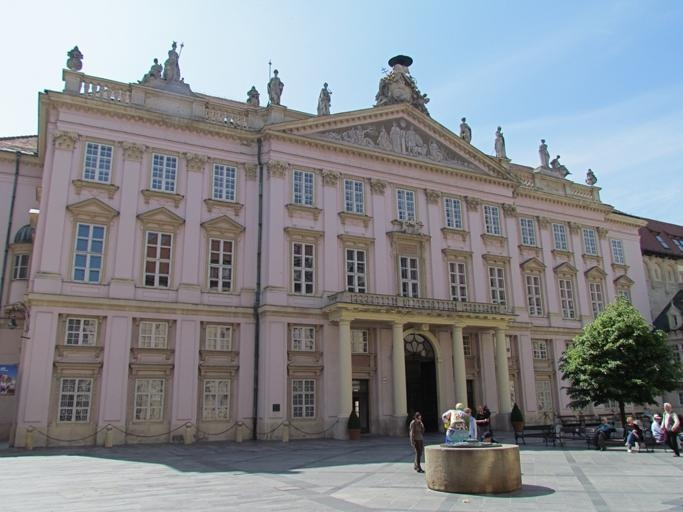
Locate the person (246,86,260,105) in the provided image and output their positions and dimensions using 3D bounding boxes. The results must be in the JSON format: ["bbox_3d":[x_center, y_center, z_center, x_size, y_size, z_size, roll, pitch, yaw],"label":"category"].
[{"bbox_3d":[-7.157,-12.932,42.618,0.859,1.690,0.605,5,-18,-24],"label":"person"}]

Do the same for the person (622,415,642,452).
[{"bbox_3d":[14.032,8.531,25.096,0.732,1.566,1.206,-11,-18,25],"label":"person"}]

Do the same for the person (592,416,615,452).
[{"bbox_3d":[13.325,9.078,26.675,0.702,1.381,1.392,-14,-19,34],"label":"person"}]

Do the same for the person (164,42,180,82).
[{"bbox_3d":[-12.102,-13.776,37.258,1.117,2.975,1.030,3,-17,-18],"label":"person"}]

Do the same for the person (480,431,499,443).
[{"bbox_3d":[7.425,9.174,26.491,0.532,0.535,1.837,-5,-15,8],"label":"person"}]

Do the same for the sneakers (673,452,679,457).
[{"bbox_3d":[14.614,8.671,22.743,0.102,0.196,0.298,-24,-44,18],"label":"sneakers"}]

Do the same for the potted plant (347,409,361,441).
[{"bbox_3d":[0.773,10.686,33.037,0.753,1.702,0.693,-1,-16,-6],"label":"potted plant"}]

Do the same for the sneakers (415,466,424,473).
[{"bbox_3d":[2.961,8.173,19.956,0.168,0.194,0.500,5,-27,-12],"label":"sneakers"}]
